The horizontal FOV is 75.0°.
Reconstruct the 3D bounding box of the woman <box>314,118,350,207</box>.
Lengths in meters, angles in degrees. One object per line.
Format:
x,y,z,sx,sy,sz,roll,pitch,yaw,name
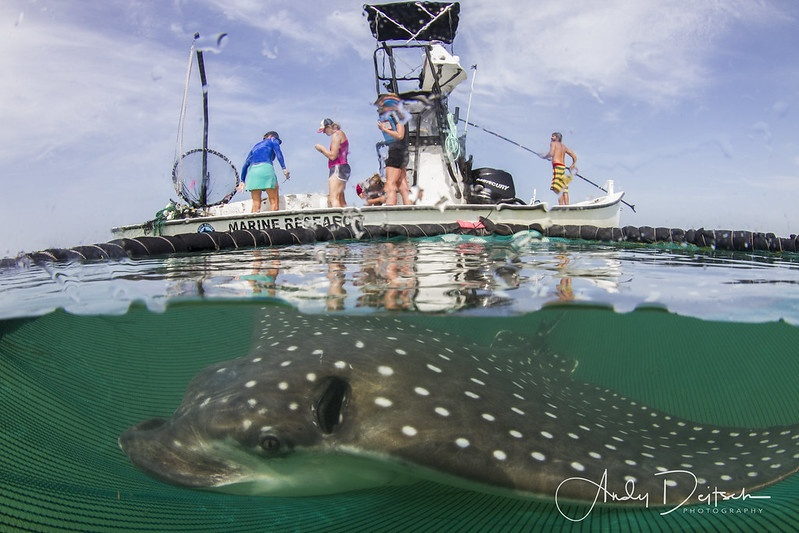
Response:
-1.476,-2.143,11.571,0.837,2.179,0.844,5,14,9,woman

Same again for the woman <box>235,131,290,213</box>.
-2.826,-1.890,10.998,1.051,2.200,0.763,-3,-11,-2,woman

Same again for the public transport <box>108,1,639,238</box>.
-0.334,-3.546,12.718,8.920,5.287,8.960,3,6,39,public transport

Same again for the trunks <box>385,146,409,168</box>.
-0.019,-2.461,11.732,0.521,0.475,0.365,-2,5,-15,trunks

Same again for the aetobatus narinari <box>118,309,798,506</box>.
0.331,1.000,3.939,4.376,0.973,1.485,0,5,4,aetobatus narinari
